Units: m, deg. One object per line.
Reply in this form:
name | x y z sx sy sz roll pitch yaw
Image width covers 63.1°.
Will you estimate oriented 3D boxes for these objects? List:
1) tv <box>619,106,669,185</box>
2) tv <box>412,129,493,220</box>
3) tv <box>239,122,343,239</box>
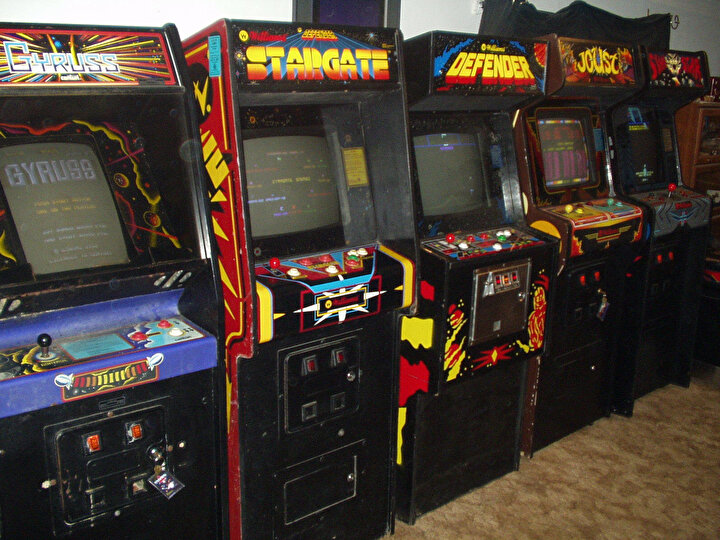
tv | 1.723 -0.726 3.617 0.288 0.537 0.148 -3 -5 -12
tv | 0.472 -0.479 2.863 0.414 0.387 0.247 0 17 31
tv | -0.288 -0.347 2.306 0.431 0.381 0.217 -11 6 -38
